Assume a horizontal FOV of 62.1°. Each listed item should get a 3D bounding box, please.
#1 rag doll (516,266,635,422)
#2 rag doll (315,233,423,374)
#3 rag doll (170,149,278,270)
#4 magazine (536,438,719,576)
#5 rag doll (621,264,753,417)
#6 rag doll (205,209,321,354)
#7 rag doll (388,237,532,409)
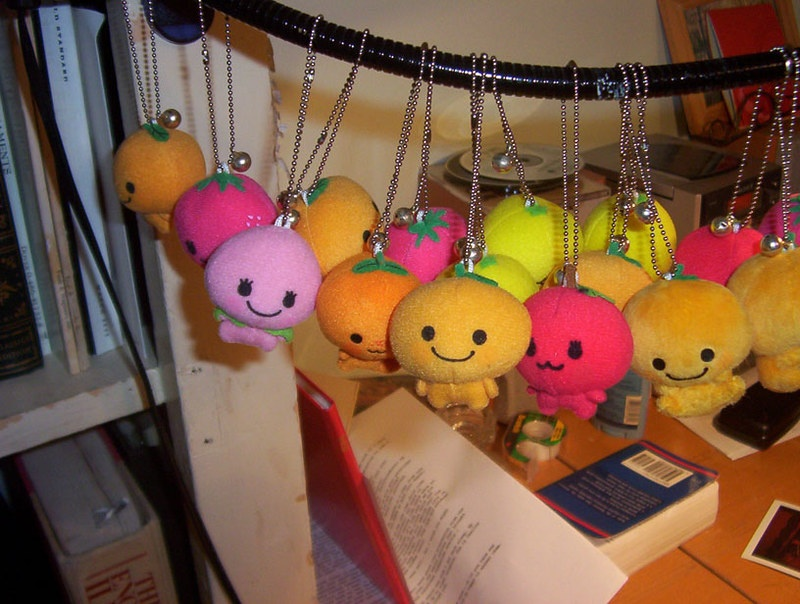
[{"bbox_3d":[0.123,0.035,0.486,0.085,0.098,0.086,1,7,26],"label":"rag doll"},{"bbox_3d":[-0.020,0.009,0.489,0.078,0.089,0.080,-2,28,-5],"label":"rag doll"},{"bbox_3d":[-0.136,-0.066,0.514,0.084,0.096,0.085,0,44,-11],"label":"rag doll"},{"bbox_3d":[0.284,0.260,0.841,0.197,0.063,0.153,-18,17,-14],"label":"magazine"},{"bbox_3d":[0.214,0.028,0.492,0.094,0.105,0.090,-26,12,-41],"label":"rag doll"},{"bbox_3d":[-0.097,-0.019,0.461,0.071,0.096,0.059,20,16,-17],"label":"rag doll"},{"bbox_3d":[0.040,0.027,0.461,0.100,0.099,0.086,1,13,7],"label":"rag doll"}]
